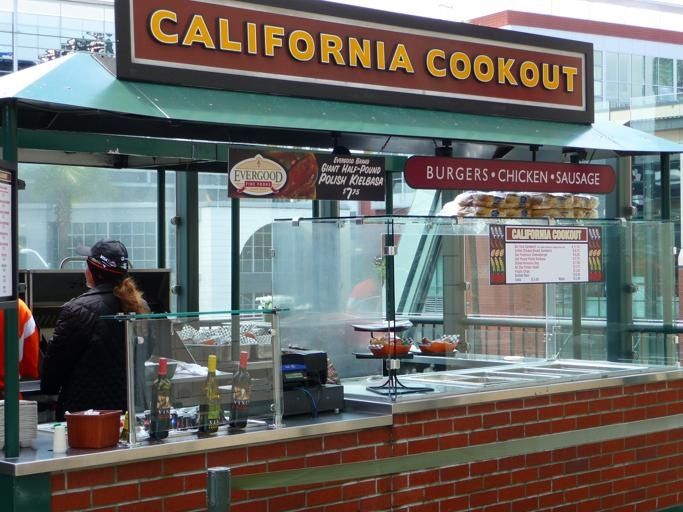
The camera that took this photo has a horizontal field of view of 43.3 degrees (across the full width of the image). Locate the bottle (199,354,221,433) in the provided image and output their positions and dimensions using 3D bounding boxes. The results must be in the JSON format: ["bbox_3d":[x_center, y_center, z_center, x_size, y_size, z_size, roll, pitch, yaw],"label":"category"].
[{"bbox_3d":[-0.750,0.798,4.950,0.122,0.453,0.032,-1,-2,-26],"label":"bottle"}]

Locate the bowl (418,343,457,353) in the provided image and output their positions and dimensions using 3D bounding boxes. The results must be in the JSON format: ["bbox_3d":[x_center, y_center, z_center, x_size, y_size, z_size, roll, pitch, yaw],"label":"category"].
[{"bbox_3d":[0.657,0.622,5.802,0.300,0.082,0.015,-1,-2,-32],"label":"bowl"}]

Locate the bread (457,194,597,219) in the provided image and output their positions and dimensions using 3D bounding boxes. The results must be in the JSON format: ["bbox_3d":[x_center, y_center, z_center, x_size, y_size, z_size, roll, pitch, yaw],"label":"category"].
[{"bbox_3d":[1.446,-0.376,6.602,1.229,0.208,0.325,-1,-1,-24],"label":"bread"}]

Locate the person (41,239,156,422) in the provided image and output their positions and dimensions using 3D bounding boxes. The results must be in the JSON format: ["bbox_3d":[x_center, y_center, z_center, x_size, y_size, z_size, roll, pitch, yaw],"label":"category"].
[{"bbox_3d":[-1.519,0.441,5.235,0.615,1.086,0.570,-2,-2,-5],"label":"person"}]

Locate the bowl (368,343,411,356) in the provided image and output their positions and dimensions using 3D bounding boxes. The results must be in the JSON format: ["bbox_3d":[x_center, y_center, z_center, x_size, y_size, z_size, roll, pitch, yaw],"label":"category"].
[{"bbox_3d":[0.326,0.623,5.682,0.265,0.080,0.063,-2,-2,2],"label":"bowl"}]

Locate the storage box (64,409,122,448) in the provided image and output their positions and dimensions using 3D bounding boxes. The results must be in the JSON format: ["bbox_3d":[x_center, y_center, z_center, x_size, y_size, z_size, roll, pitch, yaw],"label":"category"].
[{"bbox_3d":[-1.371,0.964,4.790,0.231,0.163,0.287,-3,-8,14],"label":"storage box"}]

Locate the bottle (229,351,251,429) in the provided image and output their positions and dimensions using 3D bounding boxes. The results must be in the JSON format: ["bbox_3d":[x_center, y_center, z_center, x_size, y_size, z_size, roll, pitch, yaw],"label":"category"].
[{"bbox_3d":[-0.591,0.790,5.053,0.129,0.461,0.041,-1,-2,-19],"label":"bottle"}]
